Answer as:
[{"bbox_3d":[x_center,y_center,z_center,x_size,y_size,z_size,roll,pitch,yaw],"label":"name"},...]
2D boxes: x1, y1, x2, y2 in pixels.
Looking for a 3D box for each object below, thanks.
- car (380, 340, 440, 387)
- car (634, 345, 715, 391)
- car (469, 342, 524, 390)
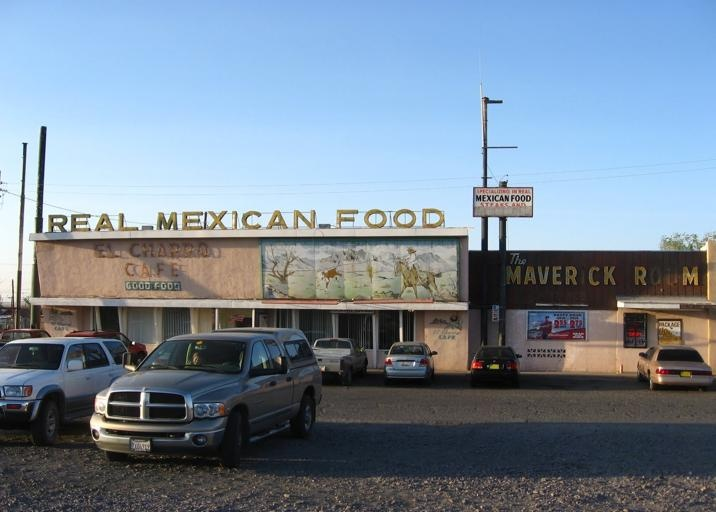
[{"bbox_3d":[1.920,4.132,32.321,1.632,1.647,2.034,2,4,13],"label":"car"},{"bbox_3d":[11.439,4.031,31.026,1.407,0.941,3.126,-1,1,7],"label":"car"},{"bbox_3d":[5.310,4.254,32.485,1.571,1.110,3.315,0,0,7],"label":"car"}]
